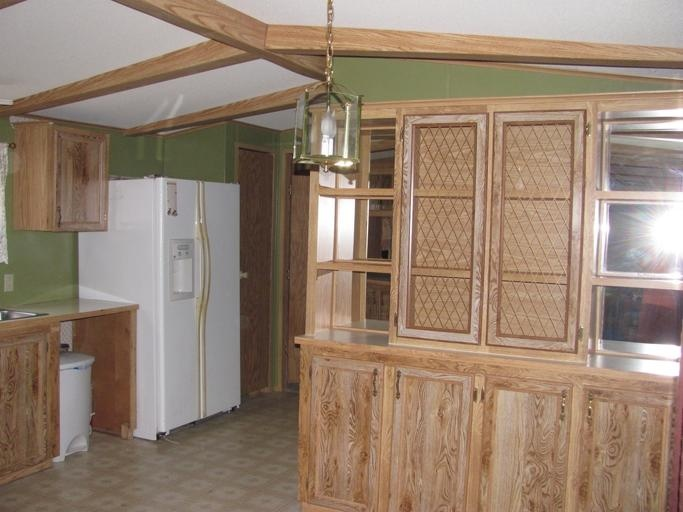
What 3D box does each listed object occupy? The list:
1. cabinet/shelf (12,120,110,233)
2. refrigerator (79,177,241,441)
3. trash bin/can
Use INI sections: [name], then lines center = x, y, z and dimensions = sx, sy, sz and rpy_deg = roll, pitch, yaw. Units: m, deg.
[cabinet/shelf]
center = -2.329, -0.659, 4.756
dimensions = 0.764, 0.903, 0.429
rpy_deg = -4, 11, -27
[refrigerator]
center = -1.506, 0.408, 5.029
dimensions = 1.378, 2.198, 0.831
rpy_deg = -3, 11, -22
[trash bin/can]
center = -2.128, 1.195, 4.548
dimensions = 0.263, 0.766, 0.420
rpy_deg = -2, 10, -15
